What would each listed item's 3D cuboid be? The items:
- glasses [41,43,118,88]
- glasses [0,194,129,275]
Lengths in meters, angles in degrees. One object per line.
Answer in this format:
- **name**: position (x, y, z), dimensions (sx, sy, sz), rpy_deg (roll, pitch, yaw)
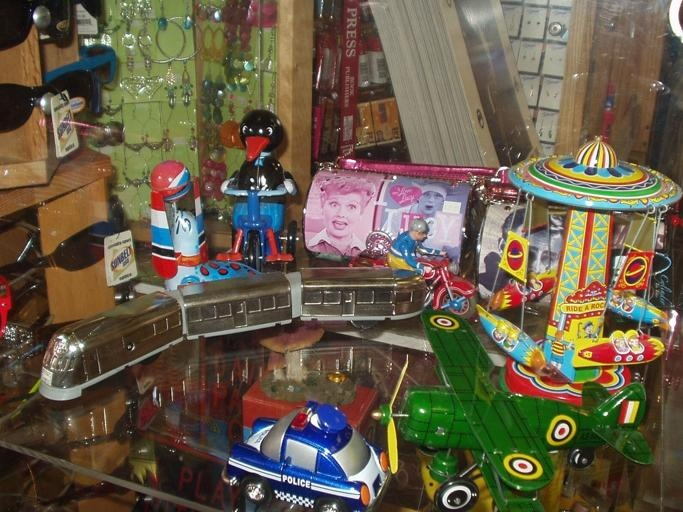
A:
- **glasses**: position (-0.822, -0.585, 1.730), dimensions (0.201, 0.073, 0.162), rpy_deg (2, 34, 8)
- **glasses**: position (-0.739, -0.068, 1.571), dimensions (0.405, 0.132, 0.164), rpy_deg (-18, 25, -24)
